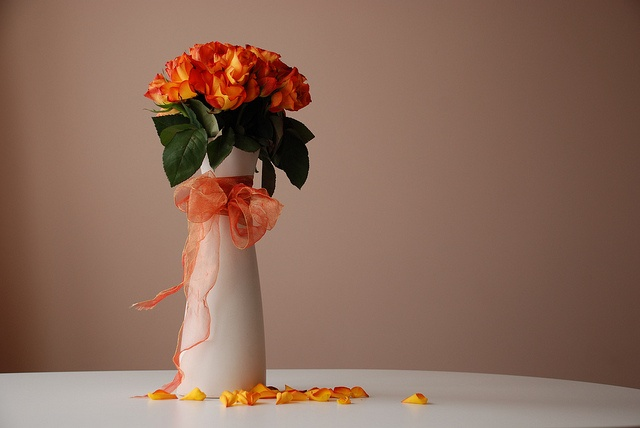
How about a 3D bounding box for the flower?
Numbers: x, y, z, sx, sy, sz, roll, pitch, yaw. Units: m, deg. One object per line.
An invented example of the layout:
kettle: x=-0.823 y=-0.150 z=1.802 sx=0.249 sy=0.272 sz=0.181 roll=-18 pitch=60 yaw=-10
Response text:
flower: x=-0.181 y=-0.185 z=1.429 sx=0.338 sy=0.360 sz=0.388 roll=8 pitch=-63 yaw=-9
